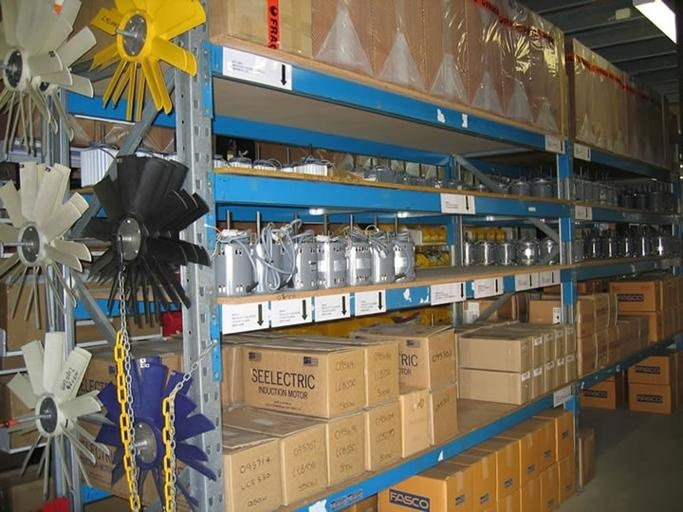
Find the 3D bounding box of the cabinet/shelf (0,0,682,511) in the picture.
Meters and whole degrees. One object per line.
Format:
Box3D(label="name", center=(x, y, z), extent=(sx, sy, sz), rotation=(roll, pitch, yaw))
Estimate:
Box3D(label="cabinet/shelf", center=(-0.013, 0.026, 3.146), extent=(0.895, 1.719, 3.338), rotation=(-7, 0, 40))
